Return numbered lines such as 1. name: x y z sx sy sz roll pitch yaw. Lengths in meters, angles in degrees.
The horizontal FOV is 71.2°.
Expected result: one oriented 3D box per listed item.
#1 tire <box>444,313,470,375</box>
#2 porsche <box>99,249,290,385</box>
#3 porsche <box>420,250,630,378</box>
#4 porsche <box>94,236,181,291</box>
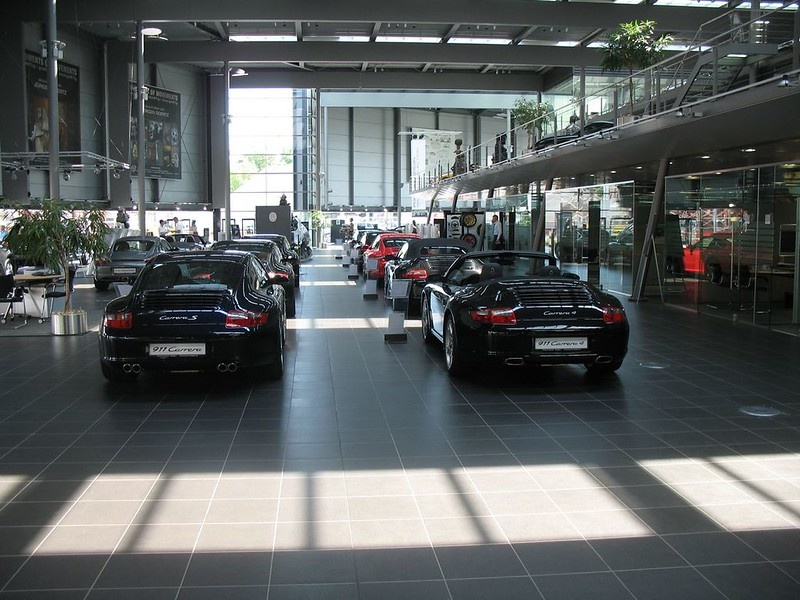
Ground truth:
1. tire: 0.741 0.564 7.198 0.296 0.677 0.773 -9 16 -7
2. porsche: -2.397 0.164 6.500 1.501 0.703 2.469 0 4 -4
3. porsche: 1.568 0.174 7.692 2.010 1.596 2.451 -3 9 -11
4. porsche: -8.746 -1.210 18.745 2.595 1.290 4.670 -1 5 -4
